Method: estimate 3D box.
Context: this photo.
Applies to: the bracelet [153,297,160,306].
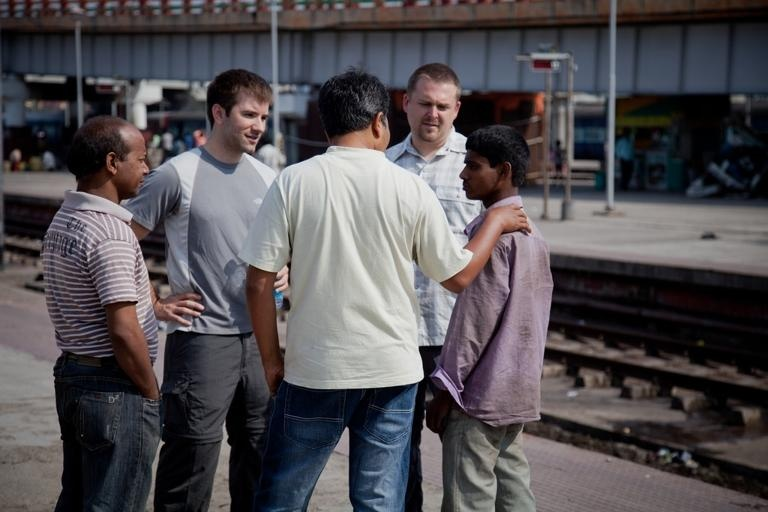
[{"bbox_3d":[-1.797,0.366,8.333,0.054,0.060,0.017,3,-28,1],"label":"bracelet"}]
